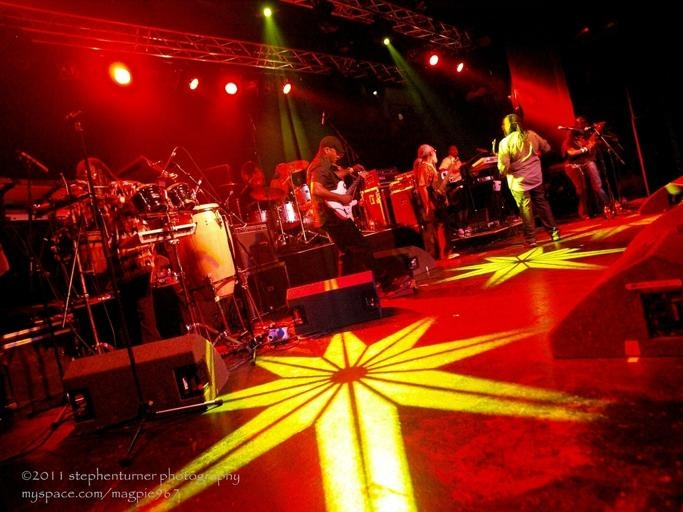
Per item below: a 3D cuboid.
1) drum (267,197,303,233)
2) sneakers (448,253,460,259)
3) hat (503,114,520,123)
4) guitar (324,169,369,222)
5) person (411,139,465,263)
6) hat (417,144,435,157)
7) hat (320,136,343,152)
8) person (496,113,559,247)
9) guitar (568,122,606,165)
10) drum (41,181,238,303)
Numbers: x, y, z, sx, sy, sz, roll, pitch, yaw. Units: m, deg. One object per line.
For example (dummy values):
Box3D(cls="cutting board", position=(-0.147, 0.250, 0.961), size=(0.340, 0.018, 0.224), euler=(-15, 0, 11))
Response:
Box3D(cls="drum", position=(-1.194, -0.843, 9.344), size=(0.682, 0.524, 0.653), euler=(-15, -19, -5))
Box3D(cls="sneakers", position=(2.028, -0.017, 8.146), size=(0.201, 0.090, 0.399), euler=(-16, -4, 16))
Box3D(cls="hat", position=(2.636, -2.130, 6.938), size=(0.147, 0.171, 0.292), euler=(-17, -4, 41))
Box3D(cls="guitar", position=(0.088, -0.937, 6.862), size=(0.213, 0.630, 1.595), euler=(-26, 13, 23))
Box3D(cls="person", position=(1.731, -0.973, 8.501), size=(0.671, 2.181, 1.123), euler=(-14, -3, 12))
Box3D(cls="hat", position=(1.529, -1.936, 8.182), size=(0.251, 0.245, 0.230), euler=(-15, -3, 0))
Box3D(cls="hat", position=(-0.124, -1.462, 5.896), size=(0.360, 0.205, 0.261), euler=(-3, 8, -38))
Box3D(cls="person", position=(2.894, -1.238, 6.989), size=(0.758, 2.214, 0.526), euler=(-13, -3, -12))
Box3D(cls="guitar", position=(4.273, -2.051, 8.012), size=(0.612, 0.802, 0.275), euler=(-3, 10, -15))
Box3D(cls="drum", position=(-2.150, -0.344, 4.835), size=(1.495, 0.798, 1.547), euler=(-18, -4, -1))
